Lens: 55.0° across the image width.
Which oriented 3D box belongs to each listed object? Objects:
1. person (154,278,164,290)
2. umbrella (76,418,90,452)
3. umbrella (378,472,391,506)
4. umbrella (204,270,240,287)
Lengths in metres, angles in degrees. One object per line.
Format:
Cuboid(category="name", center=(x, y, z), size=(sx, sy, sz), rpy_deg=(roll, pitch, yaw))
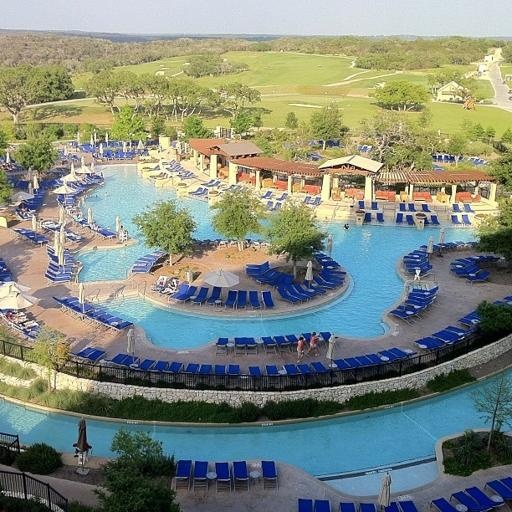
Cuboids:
Cuboid(category="person", center=(-5.928, 1.720, 30.405), size=(0.573, 0.657, 0.324), rpy_deg=(2, -31, 32))
Cuboid(category="umbrella", center=(-6.023, 6.252, 17.045), size=(0.462, 1.224, 0.609), rpy_deg=(-7, 13, -20))
Cuboid(category="umbrella", center=(3.887, 7.147, 14.924), size=(0.336, 1.418, 0.570), rpy_deg=(0, 12, 12))
Cuboid(category="umbrella", center=(-2.032, 1.493, 28.843), size=(1.819, 1.064, 1.700), rpy_deg=(-6, 11, -23))
